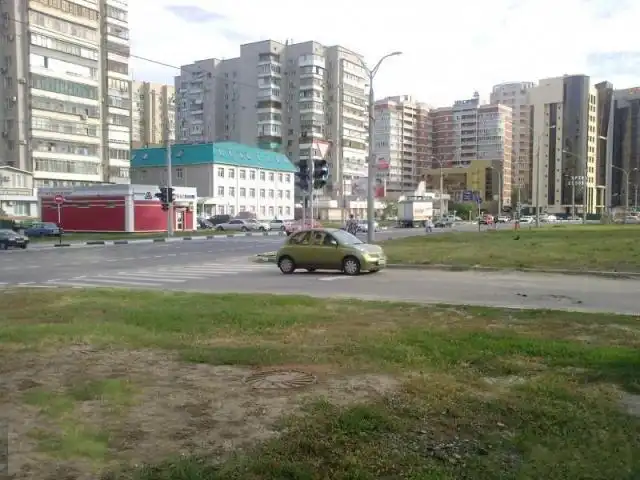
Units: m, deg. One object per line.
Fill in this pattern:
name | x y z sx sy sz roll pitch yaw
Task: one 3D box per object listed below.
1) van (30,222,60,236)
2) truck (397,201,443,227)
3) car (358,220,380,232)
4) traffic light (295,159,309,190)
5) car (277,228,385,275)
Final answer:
van | -19.891 -0.734 49.700 2.066 1.019 1.567 -2 5 -26
truck | 10.347 -3.033 76.217 2.081 2.723 4.299 3 6 36
car | 3.686 -1.303 58.263 1.147 0.963 2.693 -1 -4 10
traffic light | -0.782 -2.928 30.604 0.549 1.355 1.470 0 4 -3
car | 0.405 0.374 21.770 2.731 1.368 1.503 -1 1 24
